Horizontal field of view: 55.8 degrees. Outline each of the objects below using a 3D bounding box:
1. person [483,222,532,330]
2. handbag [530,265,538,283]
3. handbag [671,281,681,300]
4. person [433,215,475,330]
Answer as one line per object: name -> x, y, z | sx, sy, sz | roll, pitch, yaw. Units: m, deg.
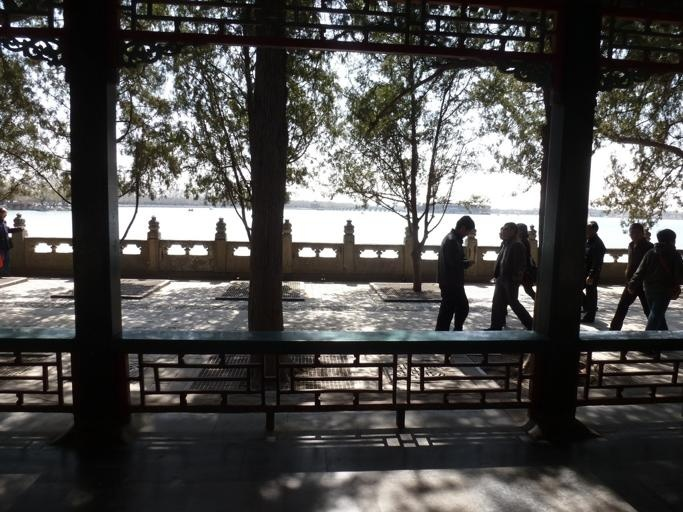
person -> 2.177, 0.262, 8.165 | 0.487, 1.386, 0.391 | 2, 6, 19
handbag -> 2.441, 0.240, 8.114 | 0.053, 0.213, 0.259 | 1, 6, 11
handbag -> 3.857, 0.394, 7.394 | 0.066, 0.186, 0.261 | 4, 8, 37
person -> 1.379, 0.222, 7.810 | 0.421, 1.426, 0.475 | 1, 6, 12
